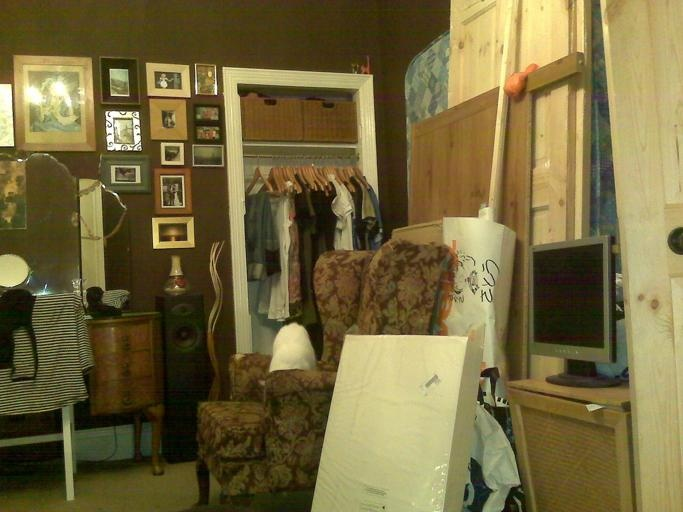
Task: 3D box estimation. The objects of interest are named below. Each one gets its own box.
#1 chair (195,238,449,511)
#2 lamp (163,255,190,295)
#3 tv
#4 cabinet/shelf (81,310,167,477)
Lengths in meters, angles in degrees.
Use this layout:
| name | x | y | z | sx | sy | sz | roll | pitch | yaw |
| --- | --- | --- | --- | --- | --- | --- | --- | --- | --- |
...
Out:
| name | x | y | z | sx | sy | sz | roll | pitch | yaw |
| --- | --- | --- | --- | --- | --- | --- | --- | --- | --- |
| chair | -0.100 | 0.523 | 2.496 | 1.050 | 1.001 | 0.725 | -1 | 0 | -9 |
| lamp | -1.052 | 0.119 | 3.782 | 0.131 | 0.202 | 0.178 | -1 | 0 | -26 |
| tv | 0.905 | 0.212 | 2.303 | 0.232 | 0.644 | 0.527 | 6 | -7 | -22 |
| cabinet/shelf | -1.196 | 0.777 | 3.383 | 0.411 | 0.737 | 0.269 | -1 | 0 | -28 |
